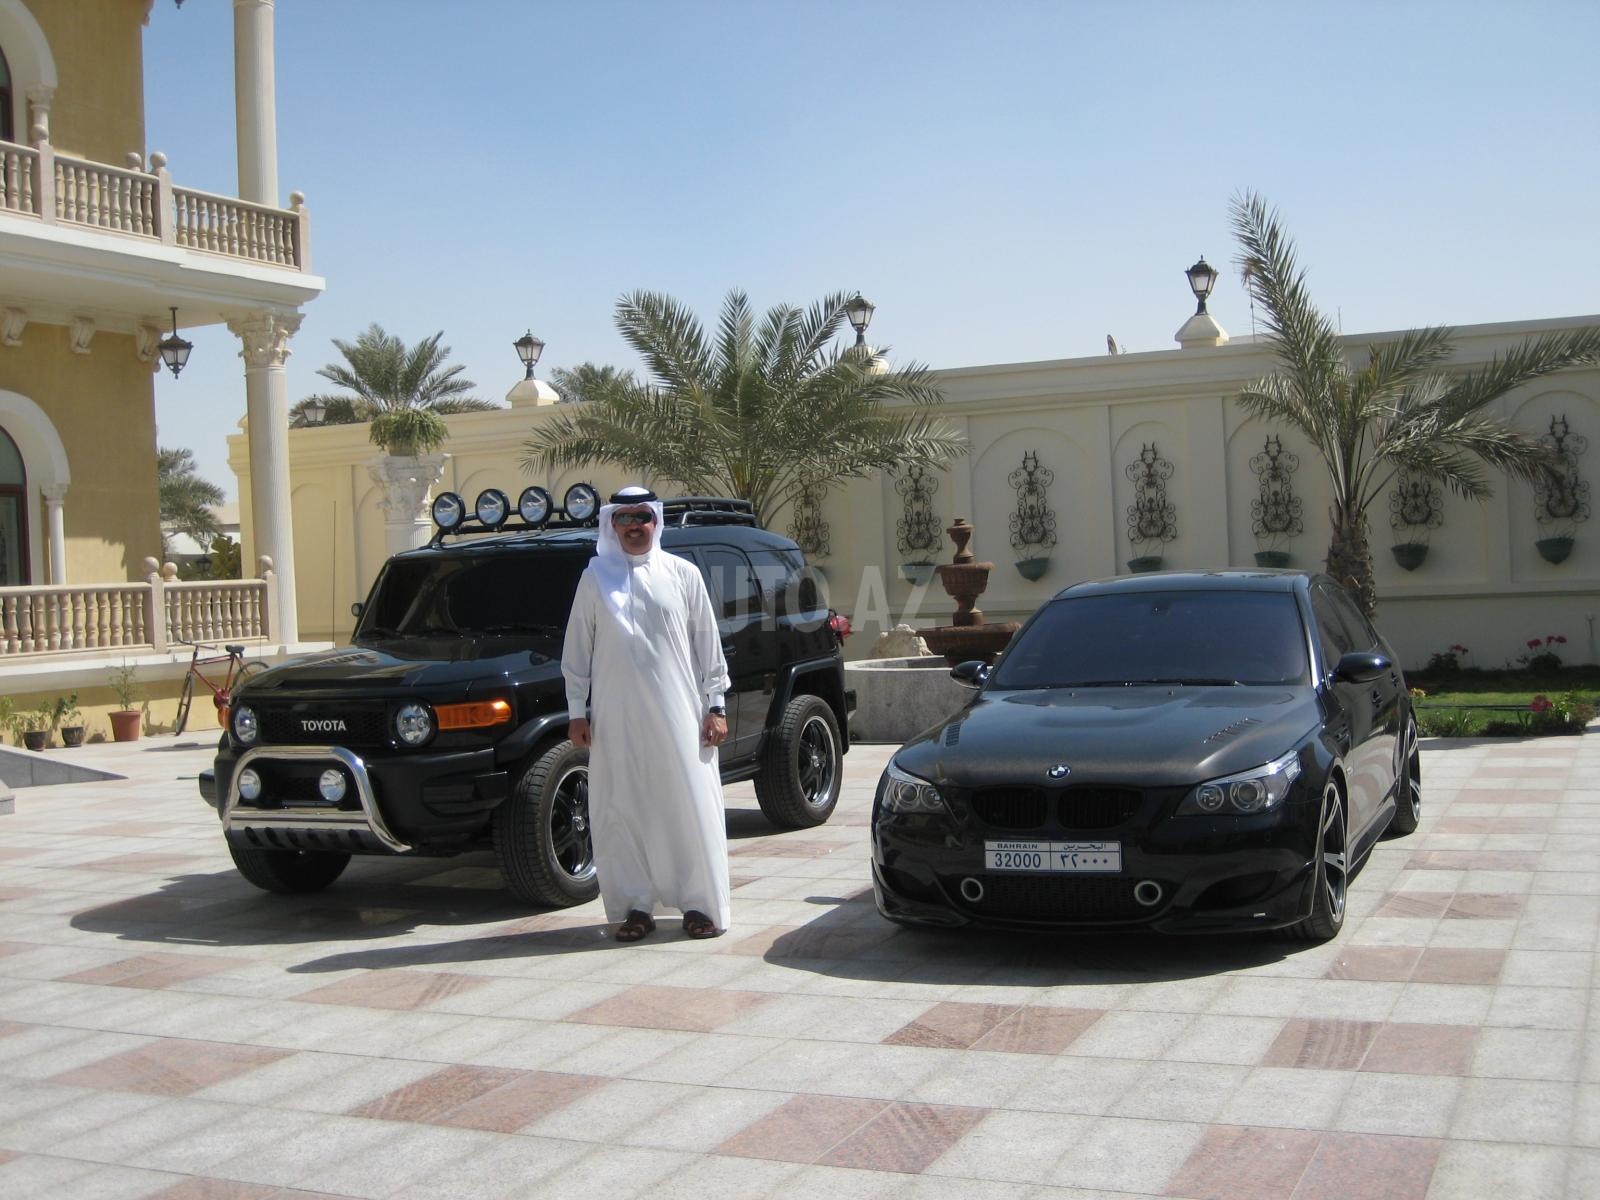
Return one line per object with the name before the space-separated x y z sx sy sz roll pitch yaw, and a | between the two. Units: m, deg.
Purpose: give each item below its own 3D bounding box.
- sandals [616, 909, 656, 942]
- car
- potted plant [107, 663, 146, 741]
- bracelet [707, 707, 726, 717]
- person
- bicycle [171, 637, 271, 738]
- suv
sandals | -0.847 1.712 7.365 0.120 0.157 0.311 -1 2 33
car | 1.944 0.768 7.416 1.917 1.785 3.035 -1 2 37
potted plant | -9.143 1.376 18.880 0.427 0.794 0.829 -4 2 -25
bracelet | -0.452 0.612 7.474 0.071 0.037 0.069 1 2 17
person | -0.805 0.604 7.386 0.863 2.375 0.350 -3 2 -9
bicycle | -8.163 1.217 19.601 2.155 1.223 0.865 -5 -2 30
suv | -1.633 0.483 9.674 2.326 2.241 4.519 -2 -3 28
